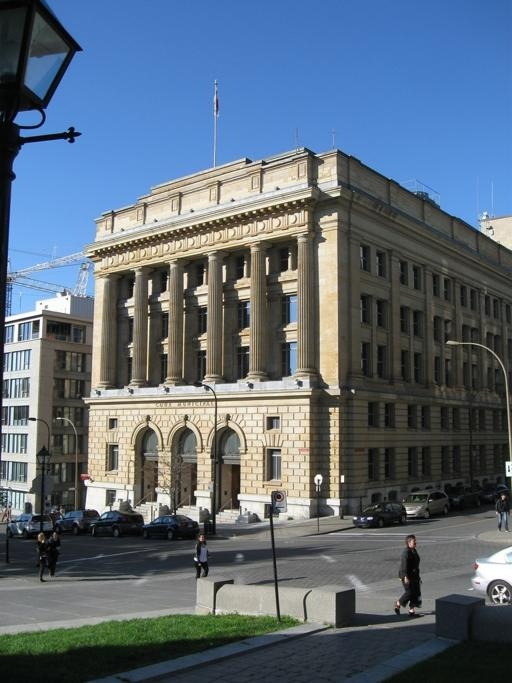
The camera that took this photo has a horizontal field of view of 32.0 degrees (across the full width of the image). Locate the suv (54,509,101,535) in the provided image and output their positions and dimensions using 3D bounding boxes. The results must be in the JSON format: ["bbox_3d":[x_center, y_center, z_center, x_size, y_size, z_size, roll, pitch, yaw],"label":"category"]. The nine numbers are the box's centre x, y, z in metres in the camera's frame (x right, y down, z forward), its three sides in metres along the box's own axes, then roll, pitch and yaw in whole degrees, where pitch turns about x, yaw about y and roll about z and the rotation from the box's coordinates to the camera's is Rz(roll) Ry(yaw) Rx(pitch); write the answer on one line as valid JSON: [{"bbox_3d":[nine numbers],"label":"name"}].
[{"bbox_3d":[-10.828,10.845,53.425,3.282,1.067,1.523,-9,-17,41],"label":"suv"}]

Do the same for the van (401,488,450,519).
[{"bbox_3d":[8.922,8.736,47.718,1.256,0.919,2.644,-9,-17,36],"label":"van"}]

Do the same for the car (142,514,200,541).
[{"bbox_3d":[-4.196,9.357,44.687,1.329,1.167,2.852,10,-15,-41],"label":"car"}]

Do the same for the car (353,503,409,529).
[{"bbox_3d":[6.153,8.651,44.229,1.168,0.759,2.324,-14,-20,39],"label":"car"}]

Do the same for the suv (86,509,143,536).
[{"bbox_3d":[-7.893,10.033,49.239,2.814,1.130,1.617,-5,-13,34],"label":"suv"}]

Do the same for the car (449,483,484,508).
[{"bbox_3d":[12.317,9.385,53.556,1.076,0.819,2.500,-12,-19,39],"label":"car"}]
